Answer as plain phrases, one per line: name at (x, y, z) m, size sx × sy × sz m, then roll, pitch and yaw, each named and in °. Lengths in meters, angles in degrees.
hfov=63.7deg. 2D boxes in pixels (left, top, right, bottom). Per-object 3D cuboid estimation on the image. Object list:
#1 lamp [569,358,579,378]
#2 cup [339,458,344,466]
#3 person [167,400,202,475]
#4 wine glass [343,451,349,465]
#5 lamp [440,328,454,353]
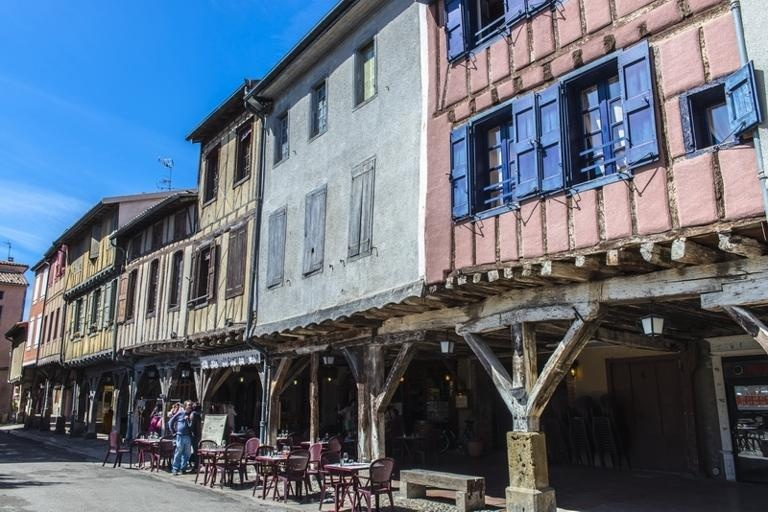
lamp at (5.049, 3.036, 16.452) m, size 0.159 × 0.525 × 0.321 m, roll 9°, pitch -22°, yaw -26°
cup at (-0.858, 4.211, 12.493) m, size 0.078 × 0.118 × 0.041 m, roll 4°, pitch -8°, yaw 28°
person at (-5.286, 4.820, 16.367) m, size 0.763 × 1.881 × 1.404 m, roll 7°, pitch -21°, yaw -21°
wine glass at (-0.770, 4.141, 12.596) m, size 0.108 × 0.175 × 0.325 m, roll 1°, pitch -21°, yaw -3°
lamp at (1.413, 1.943, 13.840) m, size 0.298 × 0.439 × 0.773 m, roll -4°, pitch -21°, yaw 10°
